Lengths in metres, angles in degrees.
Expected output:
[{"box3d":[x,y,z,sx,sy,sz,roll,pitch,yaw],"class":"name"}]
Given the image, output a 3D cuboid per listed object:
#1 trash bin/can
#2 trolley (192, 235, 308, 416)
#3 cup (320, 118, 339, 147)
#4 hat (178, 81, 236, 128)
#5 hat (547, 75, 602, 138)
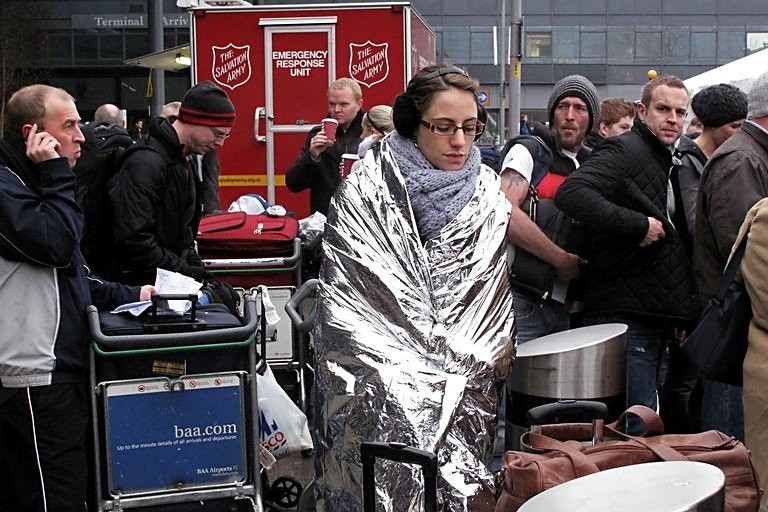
[{"box3d":[1.236,0.790,7.158,0.723,0.939,0.797,0,1,20],"class":"trash bin/can"},{"box3d":[-1.557,0.550,9.246,1.068,2.038,1.264,-1,10,-4],"class":"trolley"},{"box3d":[-0.486,-1.098,9.613,0.184,0.222,0.197,-1,-9,0],"class":"cup"},{"box3d":[-1.282,-1.094,7.782,0.356,0.281,0.283,0,16,-4],"class":"hat"},{"box3d":[1.411,-1.099,7.879,0.315,0.396,0.438,12,3,15],"class":"hat"}]
